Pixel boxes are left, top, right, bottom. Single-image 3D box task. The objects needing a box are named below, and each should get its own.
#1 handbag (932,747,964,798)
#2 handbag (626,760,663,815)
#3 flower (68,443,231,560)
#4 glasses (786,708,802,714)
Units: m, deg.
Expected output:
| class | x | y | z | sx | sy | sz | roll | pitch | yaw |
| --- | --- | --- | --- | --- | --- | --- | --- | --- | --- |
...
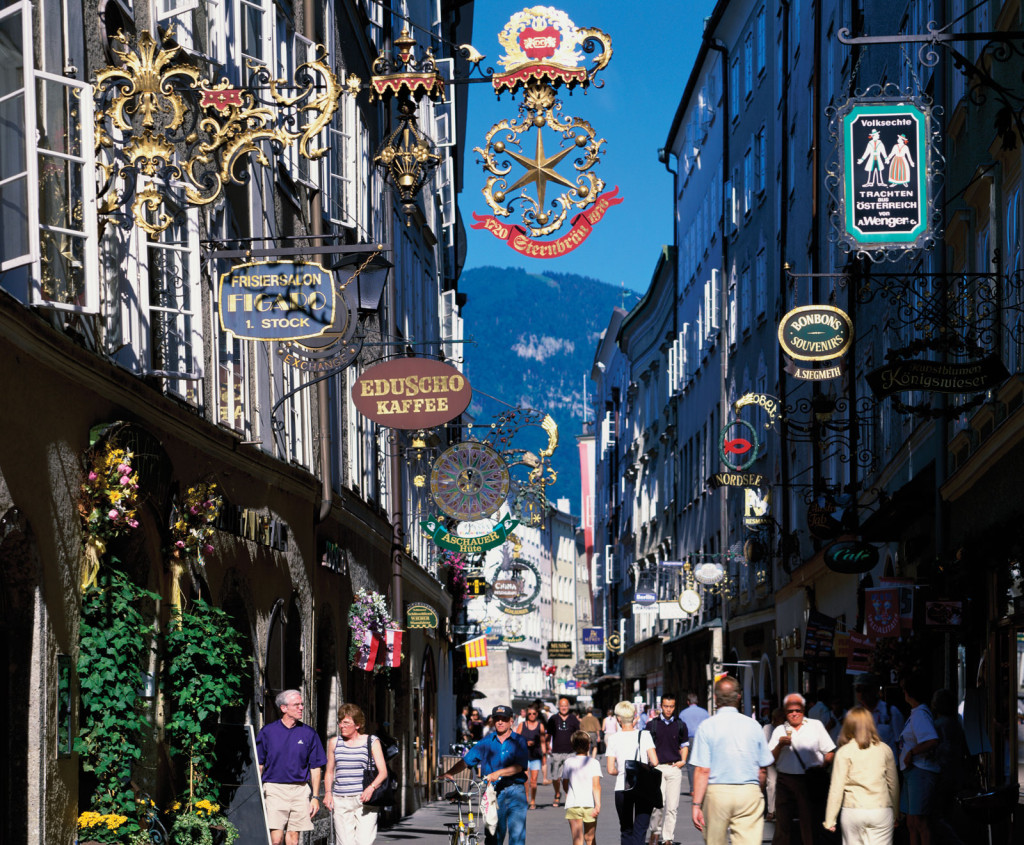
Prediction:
| class | x | y | z | sx | sy | sz | roll | pitch | yaw |
| --- | --- | --- | --- | --- | --- | --- | --- | --- | --- |
| handbag | 4.605 | 3.697 | 27.567 | 0.279 | 0.575 | 0.598 | -3 | -11 | 13 |
| handbag | 1.401 | 3.968 | 28.300 | 0.405 | 0.471 | 0.201 | -10 | -14 | 24 |
| flower | -3.418 | 0.833 | 24.675 | 0.725 | 1.105 | 2.371 | -2 | -12 | 7 |
| glasses | 2.927 | 3.053 | 27.466 | 0.103 | 0.052 | 0.295 | 3 | -13 | -19 |
